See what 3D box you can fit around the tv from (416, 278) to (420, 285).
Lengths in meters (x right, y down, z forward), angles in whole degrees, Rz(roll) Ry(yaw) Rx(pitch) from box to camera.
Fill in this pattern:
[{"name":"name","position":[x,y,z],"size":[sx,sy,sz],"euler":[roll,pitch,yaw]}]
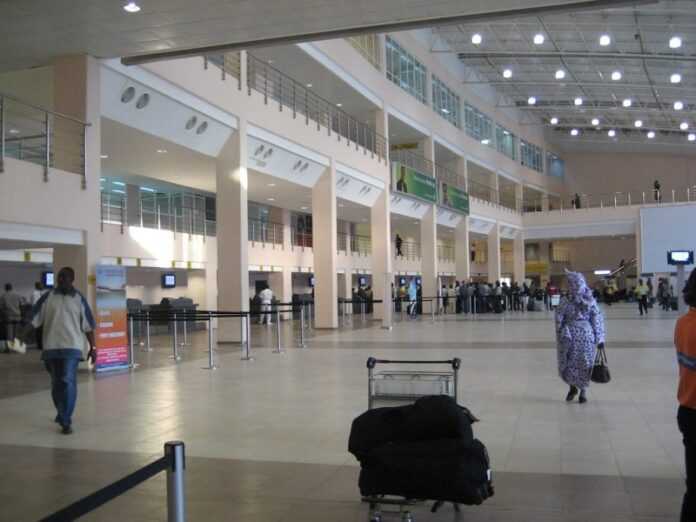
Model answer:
[{"name":"tv","position":[4.850,1.418,39.781],"size":[0.242,0.510,0.480],"euler":[2,4,40]}]

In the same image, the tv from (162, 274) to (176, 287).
[{"name":"tv","position":[-7.368,0.813,23.536],"size":[0.186,0.594,0.646],"euler":[-2,-4,20]}]

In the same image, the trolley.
[{"name":"trolley","position":[0.735,1.934,7.277],"size":[1.119,1.940,1.417],"euler":[1,2,7]}]

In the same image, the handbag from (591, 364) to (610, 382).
[{"name":"handbag","position":[3.484,1.548,7.956],"size":[0.233,0.247,0.244],"euler":[0,1,1]}]

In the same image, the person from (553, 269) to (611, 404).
[{"name":"person","position":[3.333,1.087,8.223],"size":[0.608,1.859,0.289],"euler":[-3,-4,23]}]

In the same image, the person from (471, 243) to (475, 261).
[{"name":"person","position":[10.453,-0.728,47.582],"size":[0.400,1.584,3.060],"euler":[-2,-4,13]}]

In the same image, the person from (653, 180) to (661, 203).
[{"name":"person","position":[21.266,-4.703,39.240],"size":[0.448,1.593,1.376],"euler":[-3,-4,32]}]

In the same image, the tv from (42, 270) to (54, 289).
[{"name":"tv","position":[-9.909,0.637,18.840],"size":[0.303,0.600,0.623],"euler":[-2,-4,13]}]

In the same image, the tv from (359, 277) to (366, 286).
[{"name":"tv","position":[0.940,1.331,36.375],"size":[0.381,0.698,0.785],"euler":[-2,-3,18]}]

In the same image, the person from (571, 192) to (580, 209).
[{"name":"person","position":[16.664,-4.298,41.661],"size":[0.571,1.147,1.190],"euler":[-2,-4,22]}]

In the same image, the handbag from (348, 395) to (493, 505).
[{"name":"handbag","position":[0.562,1.357,4.417],"size":[0.841,0.678,0.886],"euler":[0,-9,9]}]

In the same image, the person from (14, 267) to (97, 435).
[{"name":"person","position":[-3.628,1.121,7.257],"size":[0.741,2.061,0.347],"euler":[-1,-3,-5]}]

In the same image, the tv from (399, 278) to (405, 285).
[{"name":"tv","position":[3.715,1.409,39.006],"size":[0.391,0.779,0.766],"euler":[-1,-2,16]}]
